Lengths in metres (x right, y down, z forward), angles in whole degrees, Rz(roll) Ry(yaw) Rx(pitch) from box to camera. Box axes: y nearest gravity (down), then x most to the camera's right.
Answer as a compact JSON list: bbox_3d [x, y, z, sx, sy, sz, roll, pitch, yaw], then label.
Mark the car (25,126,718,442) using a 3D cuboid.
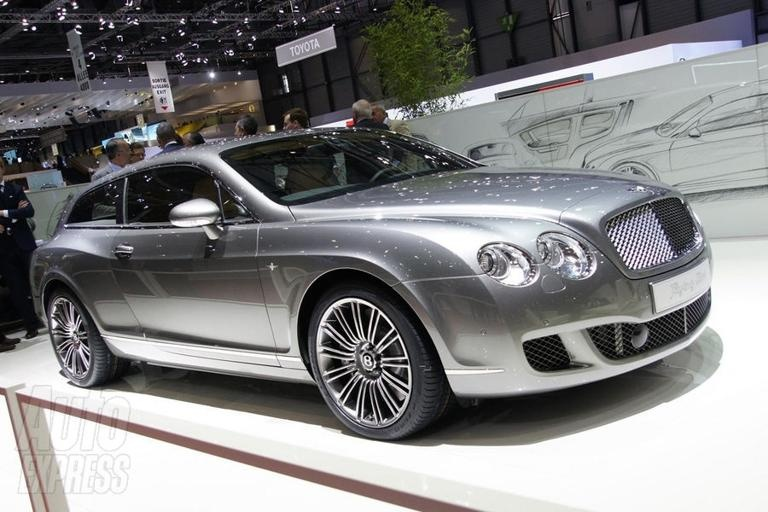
[{"bbox_3d":[-0.301,0.101,3.188,4.237,1.217,2.226,0,5,29],"label":"car"}]
